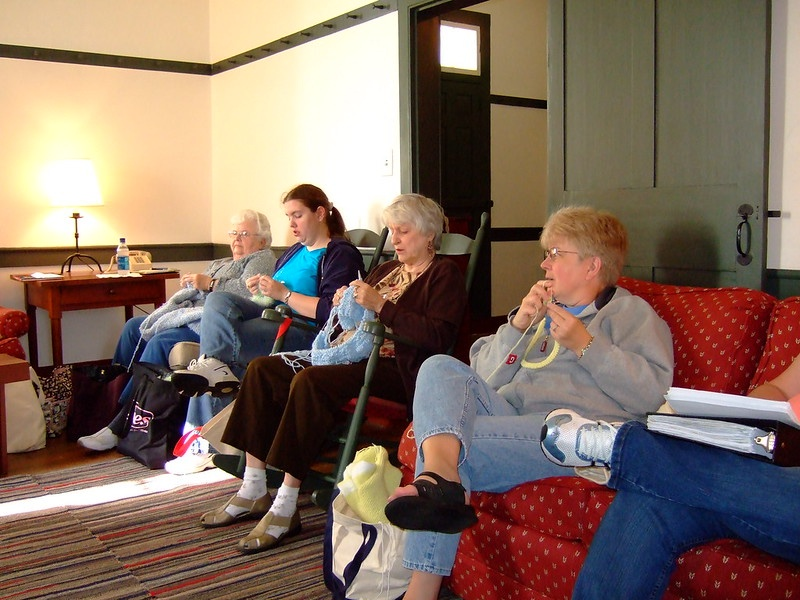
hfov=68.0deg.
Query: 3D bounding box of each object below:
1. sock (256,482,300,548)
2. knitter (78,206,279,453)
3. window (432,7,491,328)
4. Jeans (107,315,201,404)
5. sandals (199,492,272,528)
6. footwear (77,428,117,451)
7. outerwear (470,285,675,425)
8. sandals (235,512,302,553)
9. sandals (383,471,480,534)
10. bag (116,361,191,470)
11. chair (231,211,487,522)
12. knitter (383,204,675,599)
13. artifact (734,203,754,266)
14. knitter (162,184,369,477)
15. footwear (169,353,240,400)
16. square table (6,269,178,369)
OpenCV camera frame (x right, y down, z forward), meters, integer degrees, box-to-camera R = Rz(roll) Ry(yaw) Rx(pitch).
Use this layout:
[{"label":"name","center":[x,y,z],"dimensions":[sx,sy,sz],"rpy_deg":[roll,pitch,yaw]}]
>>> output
[{"label":"sock","center":[-0.484,0.813,2.241],"dimensions":[0.110,0.191,0.248],"rpy_deg":[4,7,44]},{"label":"knitter","center":[-1.292,0.144,3.477],"dimensions":[1.037,1.382,0.513],"rpy_deg":[8,-5,-44]},{"label":"window","center":[0.464,-0.781,4.930],"dimensions":[0.652,3.160,0.223],"rpy_deg":[-8,13,-28]},{"label":"Jeans","center":[-1.415,0.262,3.408],"dimensions":[0.402,0.363,0.906],"rpy_deg":[4,1,-35]},{"label":"sandals","center":[-0.654,0.842,2.402],"dimensions":[0.299,0.128,0.117],"rpy_deg":[-4,1,-19]},{"label":"footwear","center":[-1.633,0.756,3.266],"dimensions":[0.249,0.110,0.097],"rpy_deg":[5,0,-41]},{"label":"outerwear","center":[0.661,0.170,2.050],"dimensions":[0.446,0.390,0.816],"rpy_deg":[-22,9,-12]},{"label":"sandals","center":[-0.486,0.868,2.218],"dimensions":[0.101,0.100,0.233],"rpy_deg":[-1,3,45]},{"label":"sandals","center":[0.077,0.482,1.390],"dimensions":[0.229,0.110,0.145],"rpy_deg":[6,36,-5]},{"label":"bag","center":[-1.245,0.603,3.017],"dimensions":[0.414,0.489,0.216],"rpy_deg":[13,1,43]},{"label":"chair","center":[-0.237,0.198,2.508],"dimensions":[1.003,1.362,0.586],"rpy_deg":[5,-2,-36]},{"label":"knitter","center":[0.320,0.378,2.373],"dimensions":[1.204,1.615,0.861],"rpy_deg":[12,-12,-25]},{"label":"artifact","center":[1.316,-0.250,2.259],"dimensions":[0.055,0.237,0.043],"rpy_deg":[3,8,23]},{"label":"knitter","center":[-0.724,0.074,3.080],"dimensions":[0.795,1.315,0.567],"rpy_deg":[3,7,-31]},{"label":"footwear","center":[-0.887,0.371,2.798],"dimensions":[0.407,0.140,0.187],"rpy_deg":[8,41,-47]},{"label":"square table","center":[-2.235,-0.074,4.382],"dimensions":[1.060,1.013,0.691],"rpy_deg":[-6,10,-43]}]
